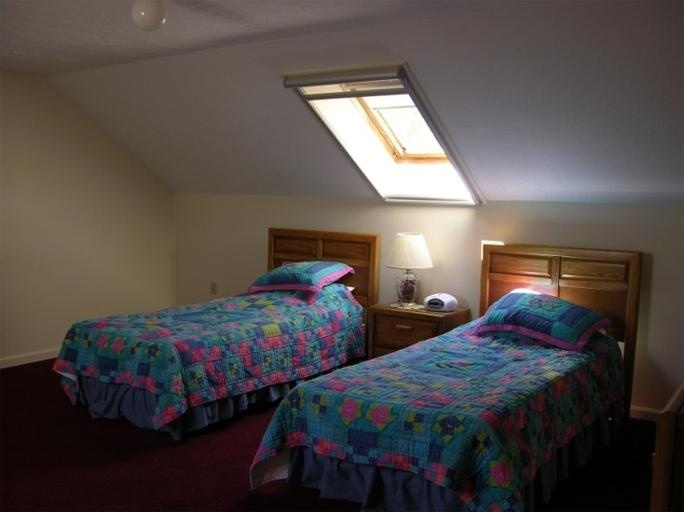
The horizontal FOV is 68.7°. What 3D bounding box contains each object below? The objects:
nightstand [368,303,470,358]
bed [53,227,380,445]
[{"bbox_3d":[0.589,0.522,3.907,0.700,0.676,0.410,2,3,41],"label":"nightstand"},{"bbox_3d":[-0.759,0.301,3.767,1.268,1.068,2.011,3,6,38],"label":"bed"}]
